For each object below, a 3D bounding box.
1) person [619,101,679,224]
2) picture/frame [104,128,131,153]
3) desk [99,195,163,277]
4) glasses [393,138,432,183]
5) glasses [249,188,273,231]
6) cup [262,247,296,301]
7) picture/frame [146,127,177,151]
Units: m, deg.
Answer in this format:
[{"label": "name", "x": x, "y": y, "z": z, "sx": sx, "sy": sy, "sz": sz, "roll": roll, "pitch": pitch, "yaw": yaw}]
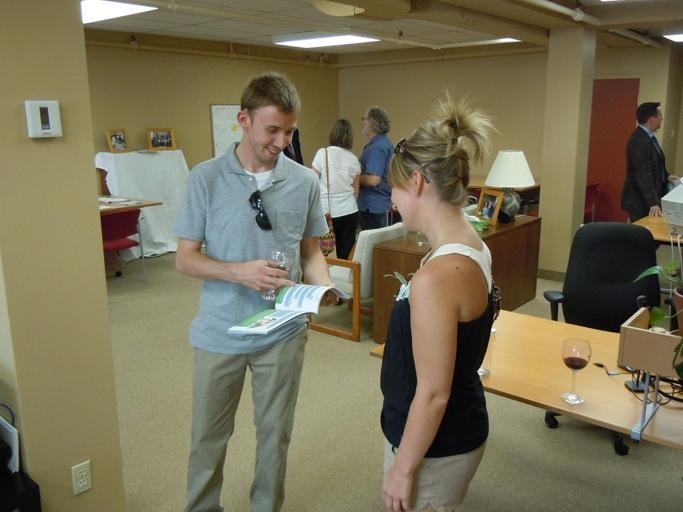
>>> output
[{"label": "person", "x": 3.496, "y": -1.050, "z": 5.776, "sx": 0.539, "sy": 1.353, "sz": 1.039, "roll": 7, "pitch": 14, "yaw": 31}, {"label": "picture/frame", "x": -3.066, "y": -1.570, "z": 6.935, "sx": 0.021, "sy": 0.308, "sz": 0.292, "roll": -6, "pitch": 21, "yaw": 35}, {"label": "desk", "x": -2.533, "y": -0.230, "z": 6.097, "sx": 0.749, "sy": 0.794, "sz": 0.594, "roll": -13, "pitch": 25, "yaw": -33}, {"label": "glasses", "x": 0.230, "y": -0.295, "z": 1.627, "sx": 0.041, "sy": 0.140, "sz": 0.120, "roll": -40, "pitch": 11, "yaw": 0}, {"label": "glasses", "x": -0.350, "y": -0.193, "z": 2.173, "sx": 0.056, "sy": 0.114, "sz": 0.145, "roll": -23, "pitch": 32, "yaw": 4}, {"label": "cup", "x": -0.281, "y": 0.087, "z": 2.175, "sx": 0.124, "sy": 0.254, "sz": 0.251, "roll": -3, "pitch": 12, "yaw": -9}, {"label": "picture/frame", "x": -2.623, "y": -1.680, "z": 7.358, "sx": 0.027, "sy": 0.320, "sz": 0.348, "roll": -5, "pitch": 8, "yaw": 39}]
